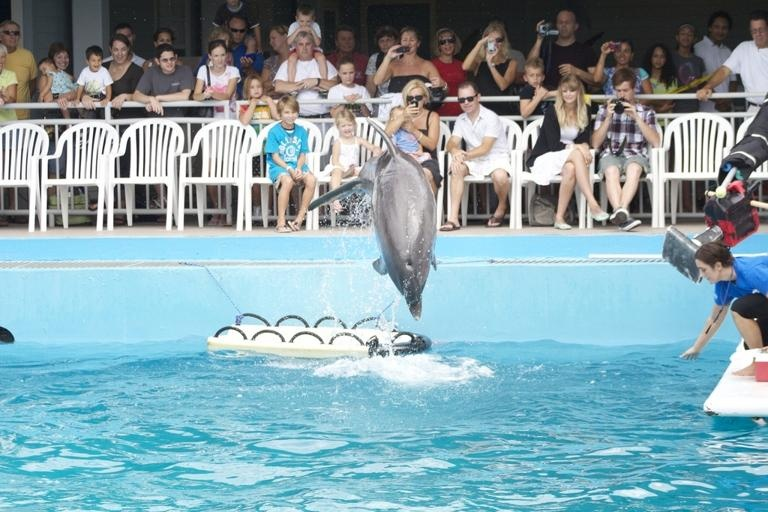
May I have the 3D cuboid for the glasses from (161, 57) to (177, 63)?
[{"bbox_3d":[-2.963,-2.643,15.689,0.203,0.090,0.119,-6,9,-42],"label":"glasses"}]

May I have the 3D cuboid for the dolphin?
[{"bbox_3d":[0.016,-0.242,10.439,1.099,1.799,1.311,11,-17,-26],"label":"dolphin"}]

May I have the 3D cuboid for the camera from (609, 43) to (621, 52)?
[{"bbox_3d":[2.952,-2.695,14.988,0.034,0.093,0.143,0,1,-36],"label":"camera"}]

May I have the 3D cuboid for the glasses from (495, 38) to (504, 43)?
[{"bbox_3d":[1.498,-2.858,15.387,0.027,0.066,0.215,3,7,26],"label":"glasses"}]

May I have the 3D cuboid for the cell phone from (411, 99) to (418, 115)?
[{"bbox_3d":[0.323,-1.789,14.011,0.118,0.117,0.139,1,-3,1],"label":"cell phone"}]

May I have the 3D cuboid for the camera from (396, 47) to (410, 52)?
[{"bbox_3d":[0.207,-2.719,15.290,0.119,0.084,0.298,2,7,15],"label":"camera"}]

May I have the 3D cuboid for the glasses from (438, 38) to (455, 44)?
[{"bbox_3d":[0.806,-2.910,15.702,0.225,0.092,0.098,0,7,-2],"label":"glasses"}]

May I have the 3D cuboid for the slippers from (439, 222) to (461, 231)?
[{"bbox_3d":[0.766,-0.374,14.346,0.259,0.105,0.242,0,7,0],"label":"slippers"}]

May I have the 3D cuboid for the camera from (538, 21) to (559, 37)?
[{"bbox_3d":[2.108,-2.943,15.154,0.253,0.105,0.334,2,5,13],"label":"camera"}]

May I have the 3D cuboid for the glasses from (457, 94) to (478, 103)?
[{"bbox_3d":[1.007,-1.988,14.702,0.261,0.113,0.164,2,7,15],"label":"glasses"}]

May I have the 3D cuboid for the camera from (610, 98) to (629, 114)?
[{"bbox_3d":[2.898,-1.874,14.442,0.192,0.158,0.102,2,7,17],"label":"camera"}]

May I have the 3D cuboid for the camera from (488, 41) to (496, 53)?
[{"bbox_3d":[1.391,-2.745,15.234,0.162,0.147,0.083,-4,8,-33],"label":"camera"}]

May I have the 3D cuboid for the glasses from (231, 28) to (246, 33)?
[{"bbox_3d":[-2.143,-3.182,16.361,0.201,0.052,0.042,-1,7,-9],"label":"glasses"}]
